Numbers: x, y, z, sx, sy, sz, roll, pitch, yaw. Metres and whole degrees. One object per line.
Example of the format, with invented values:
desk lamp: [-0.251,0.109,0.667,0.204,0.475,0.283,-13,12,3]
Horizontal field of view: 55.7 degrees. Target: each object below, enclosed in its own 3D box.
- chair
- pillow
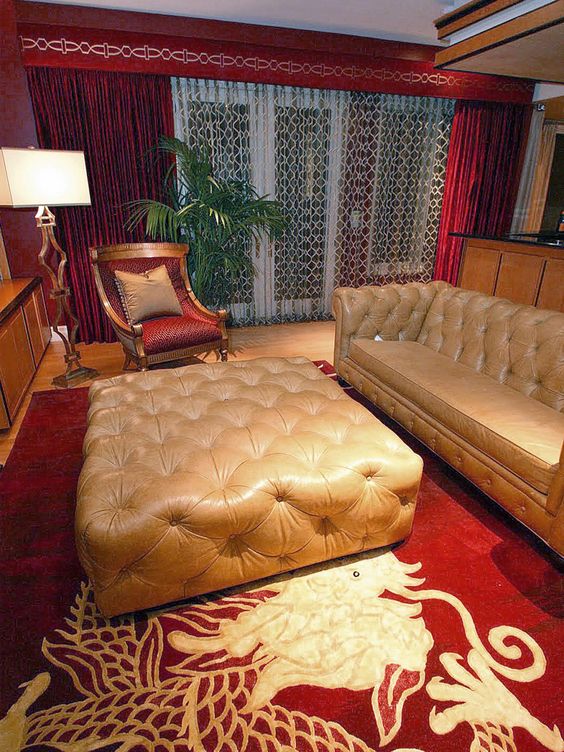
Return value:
chair: [-0.803,-0.458,3.420,0.725,0.783,0.658,-16,34,-34]
pillow: [-0.840,-0.490,3.291,0.406,0.328,0.172,-16,26,-38]
